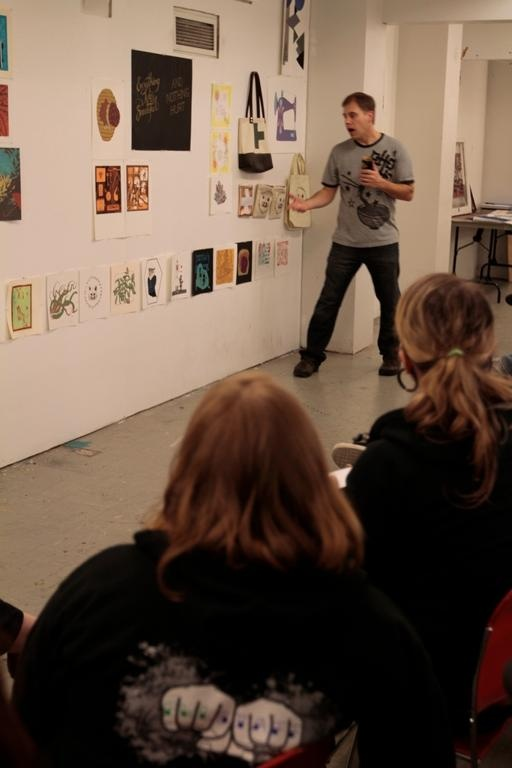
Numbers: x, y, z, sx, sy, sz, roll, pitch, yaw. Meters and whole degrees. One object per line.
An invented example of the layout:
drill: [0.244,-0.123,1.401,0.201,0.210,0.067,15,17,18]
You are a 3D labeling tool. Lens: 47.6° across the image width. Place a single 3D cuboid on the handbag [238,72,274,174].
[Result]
handbag: [0.000,-2.143,4.773,0.146,0.793,0.355,7,13,26]
